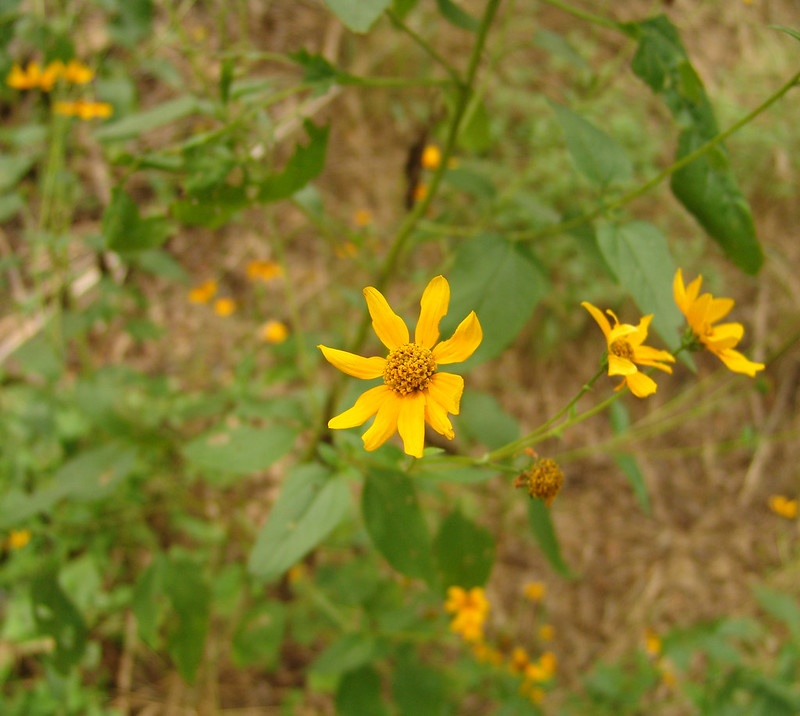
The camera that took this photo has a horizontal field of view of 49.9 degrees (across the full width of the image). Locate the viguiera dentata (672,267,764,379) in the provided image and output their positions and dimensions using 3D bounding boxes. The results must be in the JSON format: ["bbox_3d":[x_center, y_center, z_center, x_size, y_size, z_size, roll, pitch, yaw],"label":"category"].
[{"bbox_3d":[0.447,-0.068,1.269,0.128,0.069,0.169,34,37,-27],"label":"viguiera dentata"}]

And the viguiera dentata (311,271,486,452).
[{"bbox_3d":[0.011,0.025,1.326,0.218,0.379,0.246,-7,85,1],"label":"viguiera dentata"}]

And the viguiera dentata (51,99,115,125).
[{"bbox_3d":[-0.537,-0.421,1.453,0.072,0.025,0.053,5,94,13],"label":"viguiera dentata"}]

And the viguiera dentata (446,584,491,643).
[{"bbox_3d":[0.123,0.466,1.571,0.082,0.078,0.110,1,86,1],"label":"viguiera dentata"}]

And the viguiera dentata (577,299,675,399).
[{"bbox_3d":[0.323,0.006,1.262,0.144,0.054,0.159,-35,108,-41],"label":"viguiera dentata"}]
